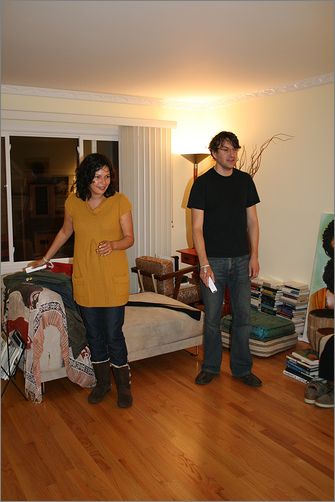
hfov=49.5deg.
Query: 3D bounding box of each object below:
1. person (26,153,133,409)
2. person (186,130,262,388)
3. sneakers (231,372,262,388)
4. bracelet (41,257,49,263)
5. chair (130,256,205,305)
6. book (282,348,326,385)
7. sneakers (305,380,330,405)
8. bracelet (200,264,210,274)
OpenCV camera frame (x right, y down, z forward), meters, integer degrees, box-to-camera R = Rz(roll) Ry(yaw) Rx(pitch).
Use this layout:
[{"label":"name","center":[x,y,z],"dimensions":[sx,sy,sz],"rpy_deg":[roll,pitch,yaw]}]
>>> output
[{"label":"person","center":[-0.389,0.228,2.039],"dimensions":[0.374,1.357,0.554],"rpy_deg":[-1,0,-9]},{"label":"person","center":[0.384,0.105,2.401],"dimensions":[0.431,1.348,0.475],"rpy_deg":[-1,0,14]},{"label":"sneakers","center":[0.566,0.899,2.579],"dimensions":[0.071,0.072,0.184],"rpy_deg":[-9,11,-39]},{"label":"bracelet","center":[-0.773,0.058,2.287],"dimensions":[0.027,0.020,0.036],"rpy_deg":[5,-8,10]},{"label":"chair","center":[0.077,0.347,3.855],"dimensions":[0.709,0.601,0.563],"rpy_deg":[-9,12,-44]},{"label":"book","center":[1.044,0.868,2.698],"dimensions":[0.230,0.161,0.288],"rpy_deg":[-1,1,-31]},{"label":"sneakers","center":[0.959,0.893,2.324],"dimensions":[0.077,0.093,0.219],"rpy_deg":[4,10,38]},{"label":"bracelet","center":[0.216,0.109,2.184],"dimensions":[0.039,0.034,0.041],"rpy_deg":[-7,-15,33]}]
